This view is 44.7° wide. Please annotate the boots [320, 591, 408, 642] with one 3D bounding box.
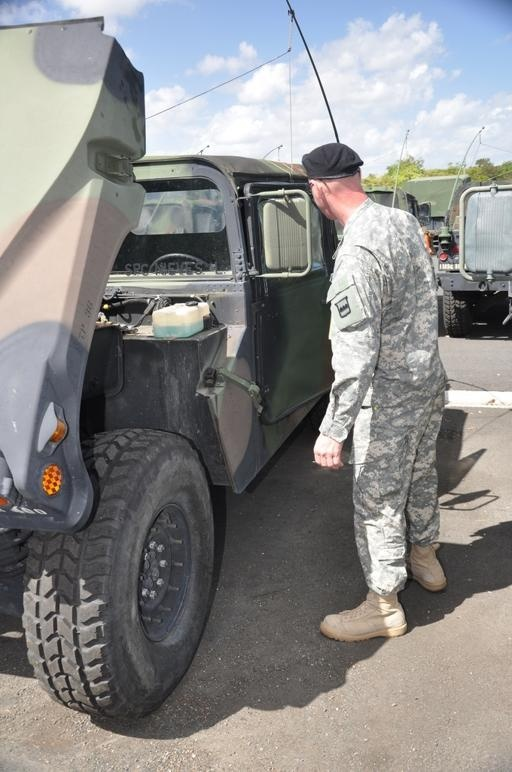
[{"bbox_3d":[0.445,0.937,2.620,0.399,0.271,0.153,1,-1,3],"label":"boots"}]
